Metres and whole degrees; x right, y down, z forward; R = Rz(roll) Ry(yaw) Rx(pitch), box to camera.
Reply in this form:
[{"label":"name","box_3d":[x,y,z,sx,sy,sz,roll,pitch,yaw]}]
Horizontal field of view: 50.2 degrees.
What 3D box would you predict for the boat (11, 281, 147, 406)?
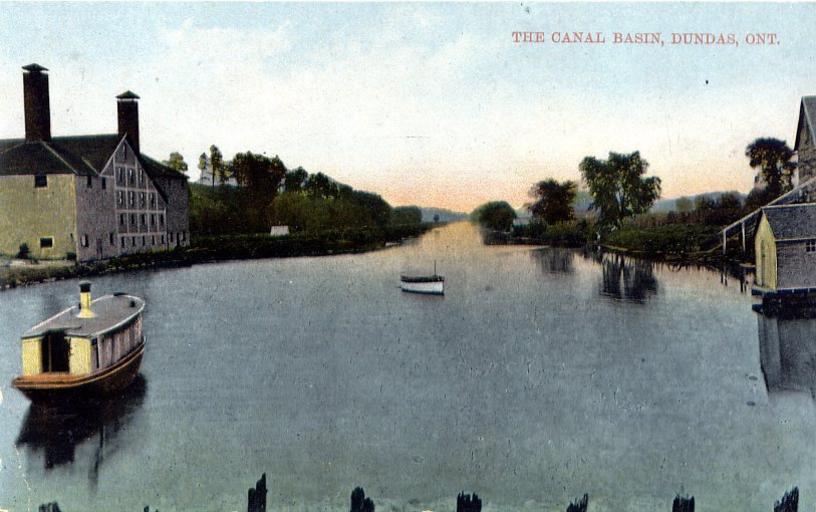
[{"label":"boat","box_3d":[-21.338,5.655,58.091,5.628,7.938,12.581,0,8,6]}]
